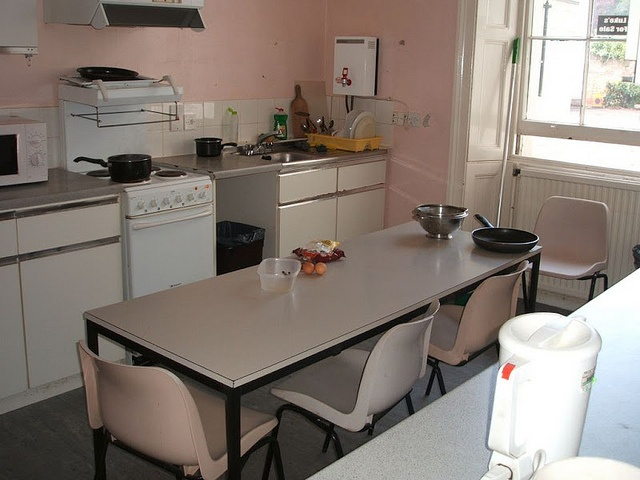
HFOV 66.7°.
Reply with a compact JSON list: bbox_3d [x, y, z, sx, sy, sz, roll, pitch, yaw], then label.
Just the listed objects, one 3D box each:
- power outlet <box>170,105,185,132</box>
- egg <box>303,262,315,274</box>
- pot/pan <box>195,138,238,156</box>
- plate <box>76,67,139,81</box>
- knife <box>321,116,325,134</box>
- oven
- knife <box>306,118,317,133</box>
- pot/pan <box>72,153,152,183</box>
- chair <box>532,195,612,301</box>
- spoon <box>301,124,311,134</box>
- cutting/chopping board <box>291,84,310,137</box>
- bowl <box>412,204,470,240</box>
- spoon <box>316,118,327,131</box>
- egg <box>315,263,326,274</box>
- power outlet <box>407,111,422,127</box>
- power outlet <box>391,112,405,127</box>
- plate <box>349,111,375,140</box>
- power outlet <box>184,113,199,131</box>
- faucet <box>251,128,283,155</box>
[{"bbox_3d":[-1.205,-1.021,4.091,0.027,0.221,0.155,12,21,35],"label":"power outlet"},{"bbox_3d":[-0.053,0.139,2.364,0.052,0.058,0.052,-6,1,15],"label":"egg"},{"bbox_3d":[-0.919,-0.782,4.107,0.282,0.121,0.184,13,17,35],"label":"pot/pan"},{"bbox_3d":[-1.479,-1.158,3.380,0.369,0.096,0.322,7,20,21],"label":"plate"},{"bbox_3d":[0.029,-1.152,4.840,0.040,0.148,0.061,7,-21,-13],"label":"knife"},{"bbox_3d":[-1.147,-0.138,3.546,0.638,0.868,0.614,-19,42,-37],"label":"oven"},{"bbox_3d":[-0.080,-1.164,4.941,0.093,0.181,0.058,-7,12,23],"label":"knife"},{"bbox_3d":[-1.382,-0.493,3.311,0.460,0.161,0.377,13,23,36],"label":"pot/pan"},{"bbox_3d":[1.974,0.037,3.754,0.619,0.908,0.548,10,19,35],"label":"chair"},{"bbox_3d":[-0.135,-1.118,4.904,0.069,0.089,0.137,3,18,12],"label":"spoon"},{"bbox_3d":[-0.203,-1.292,4.884,0.191,0.517,0.241,-1,17,-2],"label":"cutting/chopping board"},{"bbox_3d":[0.719,-0.126,2.935,0.302,0.137,0.214,-12,24,-44],"label":"bowl"},{"bbox_3d":[0.026,-1.162,4.895,0.074,0.210,0.059,-1,-2,-11],"label":"spoon"},{"bbox_3d":[0.006,0.145,2.375,0.047,0.054,0.060,3,-13,5],"label":"egg"},{"bbox_3d":[0.896,-1.156,4.652,0.117,0.166,0.154,-15,26,-38],"label":"power outlet"},{"bbox_3d":[0.771,-1.183,4.742,0.155,0.161,0.110,19,24,41],"label":"power outlet"},{"bbox_3d":[0.432,-1.115,4.707,0.131,0.236,0.400,10,21,31],"label":"plate"},{"bbox_3d":[-1.114,-1.020,4.186,0.071,0.139,0.135,7,11,35],"label":"power outlet"},{"bbox_3d":[-0.491,-0.928,4.582,0.218,0.186,0.478,1,18,4],"label":"faucet"}]
